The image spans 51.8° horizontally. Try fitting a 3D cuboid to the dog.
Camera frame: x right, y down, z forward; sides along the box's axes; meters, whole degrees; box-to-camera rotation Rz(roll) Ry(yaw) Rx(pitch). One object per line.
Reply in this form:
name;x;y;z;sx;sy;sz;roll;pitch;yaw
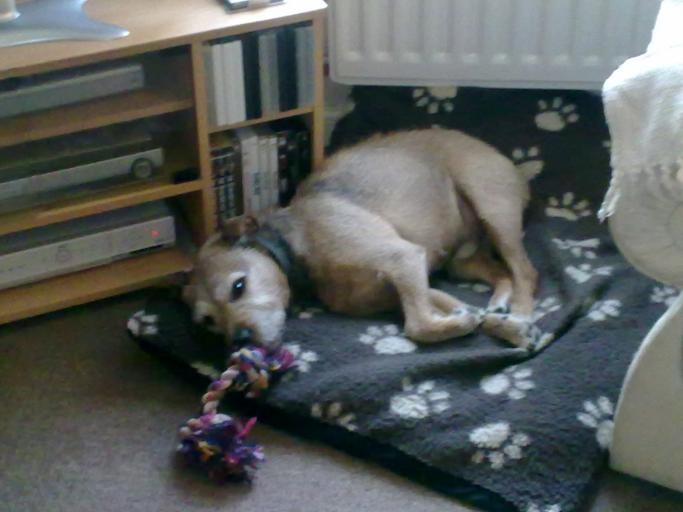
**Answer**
dog;0.070;-0.053;1.946;0.990;0.342;0.663;-4;34;-1
